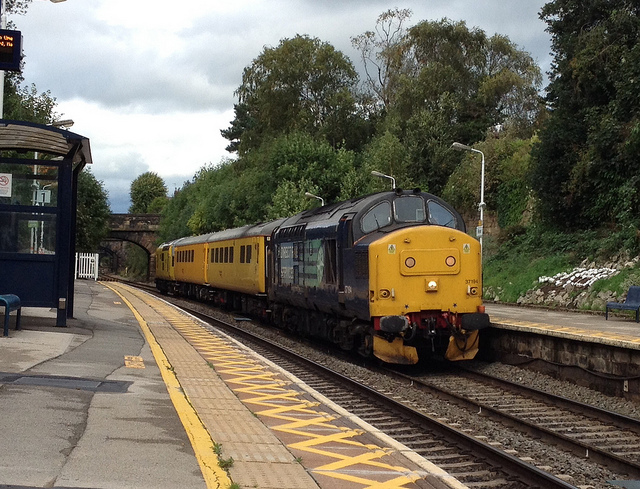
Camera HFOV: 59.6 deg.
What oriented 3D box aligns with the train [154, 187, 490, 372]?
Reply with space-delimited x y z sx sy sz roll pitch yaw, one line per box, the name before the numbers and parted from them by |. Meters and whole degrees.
train | -1.578 0.685 21.661 2.668 3.951 20.874 1 -1 -25
